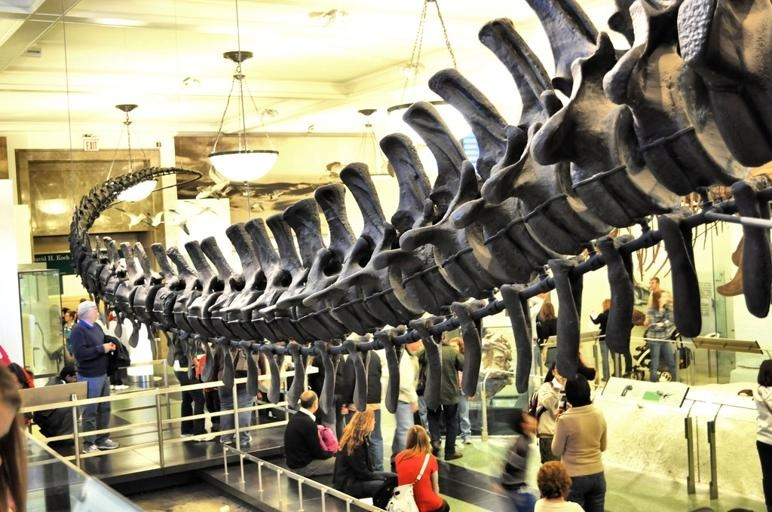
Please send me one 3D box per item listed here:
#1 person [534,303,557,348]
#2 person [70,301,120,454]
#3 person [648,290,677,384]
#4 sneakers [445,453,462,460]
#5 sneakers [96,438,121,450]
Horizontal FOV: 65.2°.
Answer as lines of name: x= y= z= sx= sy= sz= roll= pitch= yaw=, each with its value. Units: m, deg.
person: x=2.876 y=1.165 z=10.742 sx=0.346 sy=0.651 sz=1.104 roll=-3 pitch=-4 yaw=13
person: x=-4.427 y=1.829 z=9.067 sx=0.621 sy=2.292 sz=1.134 roll=0 pitch=-4 yaw=-24
person: x=4.641 y=1.286 z=10.106 sx=0.429 sy=1.492 sz=0.940 roll=-4 pitch=-4 yaw=23
sneakers: x=1.111 y=3.290 z=9.899 sx=0.303 sy=0.117 sz=0.097 roll=-5 pitch=3 yaw=0
sneakers: x=-4.336 y=2.957 z=9.431 sx=0.445 sy=0.172 sz=0.152 roll=0 pitch=2 yaw=-2
